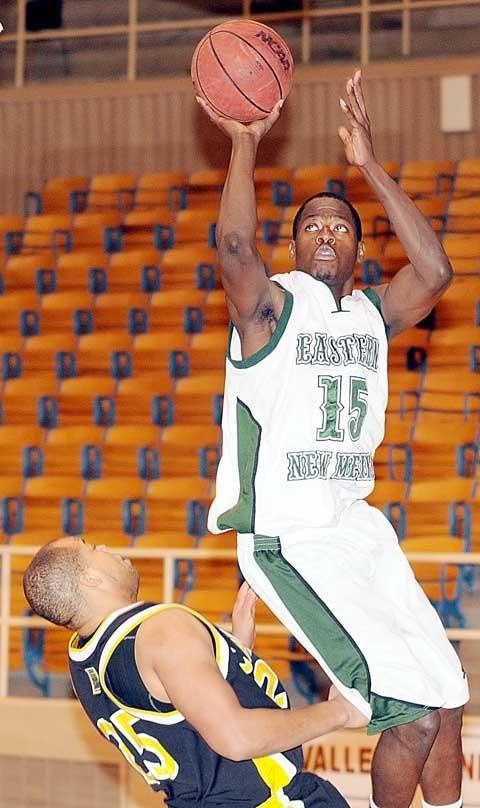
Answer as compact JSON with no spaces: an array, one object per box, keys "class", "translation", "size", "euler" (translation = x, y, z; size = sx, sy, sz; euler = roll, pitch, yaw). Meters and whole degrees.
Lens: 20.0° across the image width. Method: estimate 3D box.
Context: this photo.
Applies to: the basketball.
[{"class":"basketball","translation":[0.007,-0.815,3.434],"size":[0.302,0.274,0.168],"euler":[-1,11,-6]}]
